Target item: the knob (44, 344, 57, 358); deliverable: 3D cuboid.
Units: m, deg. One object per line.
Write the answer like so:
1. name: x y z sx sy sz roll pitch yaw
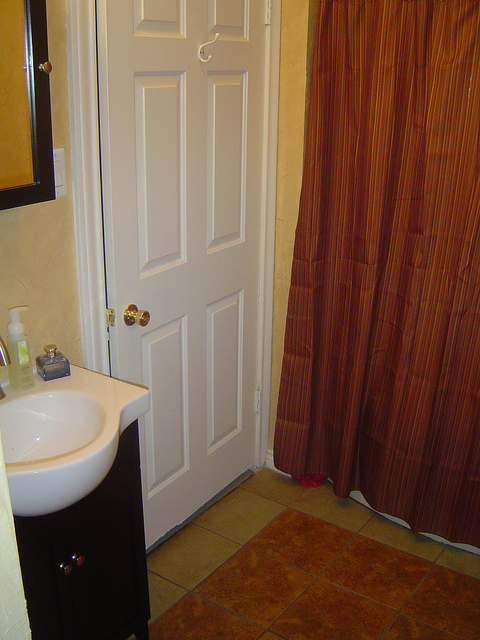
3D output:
1. knob: -0.477 0.078 1.295 0.023 0.030 0.027 3 26 -4

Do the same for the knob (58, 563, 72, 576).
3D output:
1. knob: -0.385 0.550 1.136 0.016 0.022 0.030 26 -11 -34

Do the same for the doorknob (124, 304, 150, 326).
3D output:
1. doorknob: -0.309 -0.005 1.545 0.066 0.065 0.066 23 31 39

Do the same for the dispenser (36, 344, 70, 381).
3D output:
1. dispenser: -0.469 0.112 1.296 0.069 0.097 0.076 -12 31 -34

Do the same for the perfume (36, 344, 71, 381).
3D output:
1. perfume: -0.469 0.115 1.294 0.070 0.098 0.074 -13 28 -36

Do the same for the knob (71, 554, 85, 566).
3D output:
1. knob: -0.366 0.544 1.166 0.027 0.020 0.006 42 -24 -5

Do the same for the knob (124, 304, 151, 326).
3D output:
1. knob: -0.304 -0.011 1.541 0.054 0.074 0.060 4 -19 32

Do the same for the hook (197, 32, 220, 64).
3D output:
1. hook: -0.091 -0.851 1.618 0.043 0.089 0.110 10 25 20
